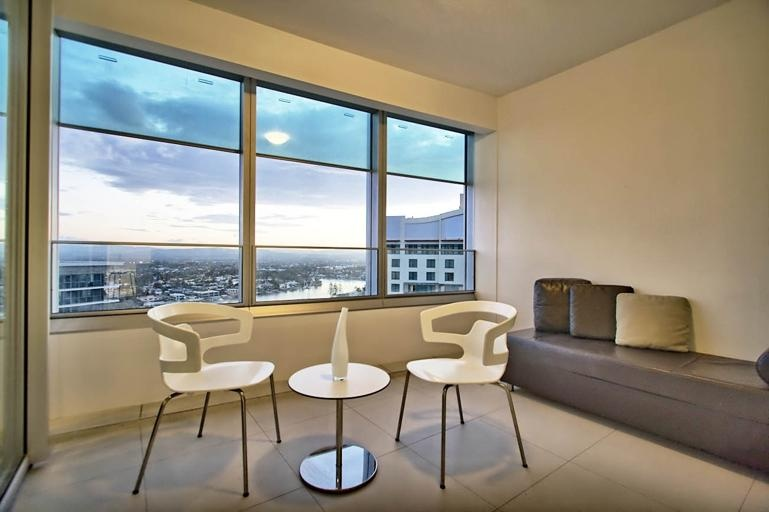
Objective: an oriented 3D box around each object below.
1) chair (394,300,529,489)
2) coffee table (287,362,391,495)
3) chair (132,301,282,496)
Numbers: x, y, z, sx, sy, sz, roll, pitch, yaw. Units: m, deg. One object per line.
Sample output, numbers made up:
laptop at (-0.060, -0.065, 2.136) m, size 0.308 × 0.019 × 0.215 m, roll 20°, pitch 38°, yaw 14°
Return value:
chair at (0.610, 1.070, 4.045) m, size 0.891 × 1.260 × 1.001 m, roll -1°, pitch 4°, yaw -21°
coffee table at (-0.384, 1.339, 3.915) m, size 0.866 × 0.742 × 0.858 m, roll -2°, pitch 3°, yaw -32°
chair at (-1.396, 1.094, 3.950) m, size 0.904 × 1.271 × 1.022 m, roll 0°, pitch 3°, yaw 7°
